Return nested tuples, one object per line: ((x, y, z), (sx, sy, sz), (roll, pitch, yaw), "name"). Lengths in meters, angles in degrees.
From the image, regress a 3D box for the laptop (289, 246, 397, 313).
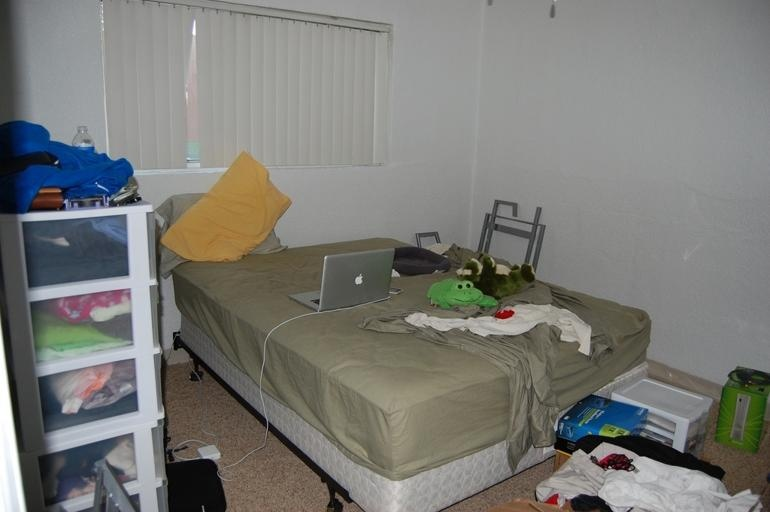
((-0.268, 0.105, 3.229), (0.561, 0.382, 0.451), (-9, 20, -41), "laptop")

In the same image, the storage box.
((1.805, 1.034, 3.151), (0.393, 0.270, 0.394), (9, 18, 43), "storage box")

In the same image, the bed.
((0.359, 0.650, 2.747), (1.692, 0.489, 1.724), (-7, 14, -34), "bed")

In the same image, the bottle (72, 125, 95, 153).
((-2.150, -0.852, 3.583), (0.140, 0.146, 0.383), (-7, 17, -29), "bottle")

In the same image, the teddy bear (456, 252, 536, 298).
((0.806, 0.145, 3.572), (0.429, 0.220, 0.325), (3, 11, 7), "teddy bear")
